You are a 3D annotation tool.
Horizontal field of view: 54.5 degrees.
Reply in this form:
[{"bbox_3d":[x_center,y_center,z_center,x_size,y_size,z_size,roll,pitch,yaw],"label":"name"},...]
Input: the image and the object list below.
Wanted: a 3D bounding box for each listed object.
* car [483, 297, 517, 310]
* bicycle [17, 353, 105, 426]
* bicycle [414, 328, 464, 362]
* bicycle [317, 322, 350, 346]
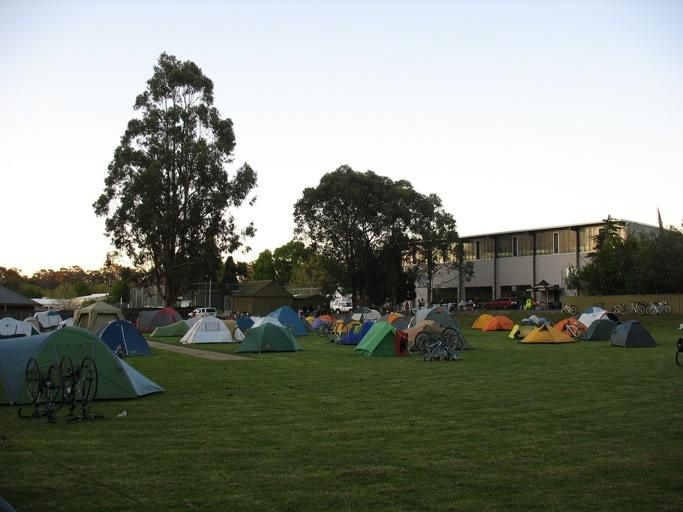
[{"bbox_3d":[17.086,5.144,70.940,2.884,1.282,1.563,2,-2,10],"label":"car"},{"bbox_3d":[-5.840,2.771,13.988,1.220,1.062,1.724,9,-7,-38],"label":"bicycle"},{"bbox_3d":[3.384,3.095,22.846,1.544,0.980,0.855,-8,-14,-30],"label":"bicycle"},{"bbox_3d":[-0.613,3.672,32.379,1.723,0.989,0.854,4,-3,28],"label":"bicycle"}]
